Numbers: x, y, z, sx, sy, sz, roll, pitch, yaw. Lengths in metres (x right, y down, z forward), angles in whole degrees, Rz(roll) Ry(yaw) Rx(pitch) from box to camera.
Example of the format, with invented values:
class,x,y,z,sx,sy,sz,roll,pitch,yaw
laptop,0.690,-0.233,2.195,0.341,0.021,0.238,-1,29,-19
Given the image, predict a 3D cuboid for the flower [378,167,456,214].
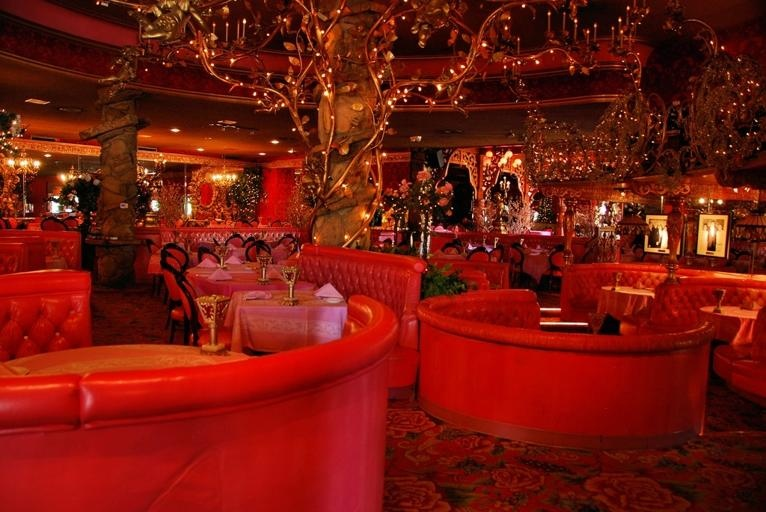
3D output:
class,x,y,z,sx,sy,sz,roll,pitch,yaw
flower,0.338,-0.715,7.041,0.948,0.693,1.037,-5,9,-18
